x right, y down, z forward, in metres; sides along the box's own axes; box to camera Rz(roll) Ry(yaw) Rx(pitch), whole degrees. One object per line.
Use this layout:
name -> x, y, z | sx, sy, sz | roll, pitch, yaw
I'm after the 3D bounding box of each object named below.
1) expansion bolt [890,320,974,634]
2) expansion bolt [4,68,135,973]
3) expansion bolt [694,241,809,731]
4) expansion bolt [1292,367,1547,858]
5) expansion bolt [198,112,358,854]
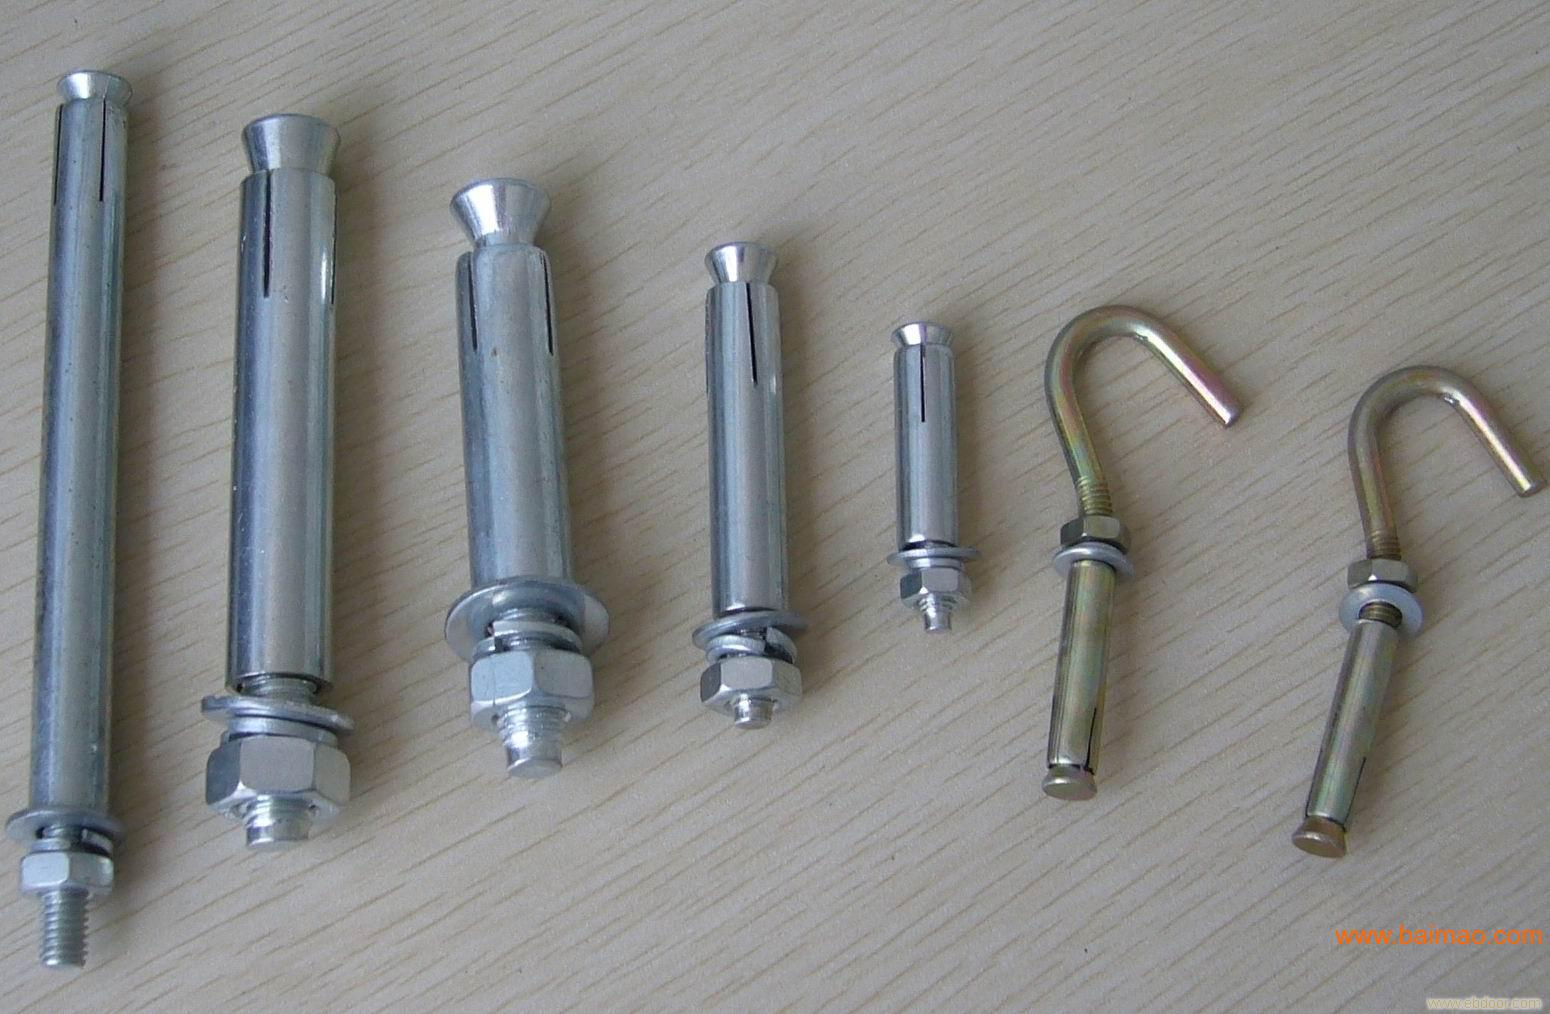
expansion bolt -> 0.155, -0.029, 3.269 | 0.081, 0.335, 0.120 | 3, -28, -13
expansion bolt -> -0.734, -0.039, 3.240 | 0.107, 0.899, 0.218 | 3, -28, -12
expansion bolt -> -0.043, -0.022, 3.261 | 0.111, 0.525, 0.172 | -3, -28, -2
expansion bolt -> 0.645, 0.086, 3.221 | 0.246, 0.556, 0.118 | 17, -20, 15
expansion bolt -> -0.526, -0.032, 3.241 | 0.148, 0.785, 0.254 | 0, -28, -8
